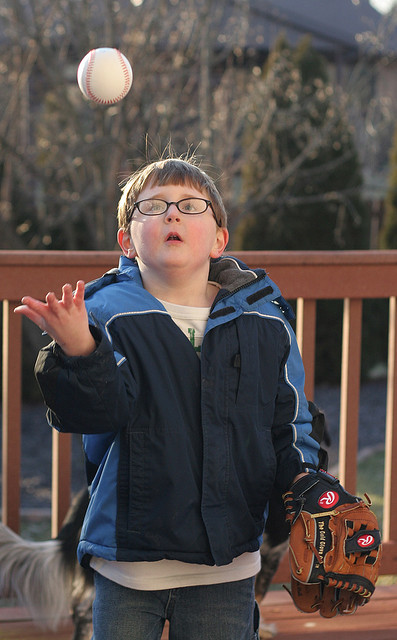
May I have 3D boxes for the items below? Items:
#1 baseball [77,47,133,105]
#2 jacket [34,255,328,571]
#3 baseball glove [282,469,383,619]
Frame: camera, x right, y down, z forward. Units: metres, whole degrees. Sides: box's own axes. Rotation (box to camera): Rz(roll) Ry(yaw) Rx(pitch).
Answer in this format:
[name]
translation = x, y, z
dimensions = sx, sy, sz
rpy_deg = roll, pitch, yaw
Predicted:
[baseball]
translation = -0.309, -0.811, 2.913
dimensions = 0.166, 0.215, 0.206
rpy_deg = -3, -6, 4
[jacket]
translation = -0.056, 0.217, 2.236
dimensions = 0.873, 0.793, 0.474
rpy_deg = 4, -6, -31
[baseball glove]
translation = 0.323, 0.540, 2.224
dimensions = 0.266, 0.339, 0.147
rpy_deg = 1, -2, -6
